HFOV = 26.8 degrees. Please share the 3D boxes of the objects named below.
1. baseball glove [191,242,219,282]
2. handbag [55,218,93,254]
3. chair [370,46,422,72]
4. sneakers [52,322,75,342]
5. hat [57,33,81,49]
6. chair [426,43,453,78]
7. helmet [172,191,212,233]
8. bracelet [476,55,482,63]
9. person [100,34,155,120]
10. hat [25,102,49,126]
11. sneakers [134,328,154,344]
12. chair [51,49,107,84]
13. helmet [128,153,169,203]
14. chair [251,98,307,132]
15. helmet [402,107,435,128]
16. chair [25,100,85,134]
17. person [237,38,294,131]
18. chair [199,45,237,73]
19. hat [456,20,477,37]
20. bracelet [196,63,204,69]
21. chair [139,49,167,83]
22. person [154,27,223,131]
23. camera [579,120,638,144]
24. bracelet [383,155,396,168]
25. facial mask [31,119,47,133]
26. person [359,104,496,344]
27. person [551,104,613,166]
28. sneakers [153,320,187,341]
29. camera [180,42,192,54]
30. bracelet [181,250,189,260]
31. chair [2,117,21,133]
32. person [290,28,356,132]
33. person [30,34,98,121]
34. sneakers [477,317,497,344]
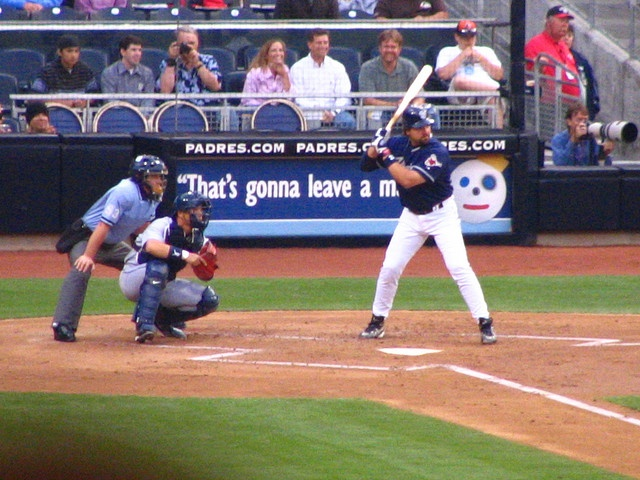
[{"bbox_3d":[-1.114,0.263,13.394,0.221,0.253,0.386,5,-16,2],"label":"baseball glove"},{"bbox_3d":[-2.467,-0.049,13.354,0.167,0.425,0.240,38,14,-44],"label":"handbag"},{"bbox_3d":[1.121,-2.576,18.875,0.504,0.421,0.470,1,1,-4],"label":"chair"},{"bbox_3d":[-2.509,0.913,13.207,0.296,0.113,0.121,8,11,41],"label":"sneakers"},{"bbox_3d":[-3.308,-2.616,17.750,0.233,0.142,0.215,-2,7,-27],"label":"hat"},{"bbox_3d":[1.633,-2.562,18.717,0.349,0.284,0.332,-7,4,-38],"label":"chair"},{"bbox_3d":[-1.218,-0.277,13.131,0.433,0.351,0.337,-3,5,-2],"label":"helmet"},{"bbox_3d":[2.141,-2.419,18.022,0.074,0.062,0.023,5,8,-36],"label":"bracelet"},{"bbox_3d":[-2.543,-2.121,18.026,0.911,1.119,0.926,3,7,9],"label":"person"},{"bbox_3d":[-3.708,-1.668,17.674,0.312,0.246,0.267,8,16,25],"label":"hat"},{"bbox_3d":[-1.718,0.931,13.188,0.126,0.092,0.205,11,-29,-26],"label":"sneakers"},{"bbox_3d":[-3.325,-2.445,18.759,0.406,0.461,0.434,-3,6,-30],"label":"chair"},{"bbox_3d":[-1.681,-0.590,13.117,0.467,0.470,0.432,3,6,-1],"label":"helmet"},{"bbox_3d":[-0.549,-1.647,18.078,0.578,0.490,0.658,-1,-37,0],"label":"chair"},{"bbox_3d":[0.953,-1.204,13.125,0.285,0.199,0.196,15,46,37],"label":"helmet"},{"bbox_3d":[-3.524,-1.585,17.754,0.606,0.487,0.409,-4,9,-22],"label":"chair"},{"bbox_3d":[-0.719,-2.044,17.910,0.668,1.214,0.328,0,15,0],"label":"person"},{"bbox_3d":[-1.393,-2.525,18.868,0.416,0.452,0.436,-1,3,-8],"label":"chair"},{"bbox_3d":[1.961,-2.813,17.899,0.269,0.202,0.339,2,13,5],"label":"hat"},{"bbox_3d":[-1.580,-2.279,17.750,0.094,0.077,0.022,3,-26,-9],"label":"bracelet"},{"bbox_3d":[-2.321,-2.429,18.741,0.434,0.461,0.430,2,17,-4],"label":"chair"},{"bbox_3d":[-1.745,-1.988,17.918,0.799,1.369,0.762,4,-10,-30],"label":"person"},{"bbox_3d":[3.873,-1.422,17.690,0.356,0.300,0.680,-5,14,-21],"label":"camera"},{"bbox_3d":[0.659,-0.762,13.100,0.136,0.087,0.127,3,9,20],"label":"bracelet"},{"bbox_3d":[-3.690,-1.482,17.635,0.208,0.178,0.153,3,17,30],"label":"facial mask"},{"bbox_3d":[1.004,-0.136,13.236,1.406,2.361,0.769,12,19,38],"label":"person"},{"bbox_3d":[3.559,-1.392,18.212,0.950,0.714,0.852,4,1,-28],"label":"person"},{"bbox_3d":[-1.485,0.910,13.582,0.365,0.121,0.120,14,5,-10],"label":"sneakers"},{"bbox_3d":[-1.766,-2.486,17.566,0.215,0.158,0.112,6,15,24],"label":"camera"},{"bbox_3d":[-1.309,0.151,13.045,0.086,0.071,0.081,-9,12,-31],"label":"bracelet"},{"bbox_3d":[-4.135,-1.527,17.993,0.239,0.269,0.260,-3,8,-28],"label":"chair"},{"bbox_3d":[0.039,-2.124,18.022,0.875,1.310,0.346,0,15,-1],"label":"person"},{"bbox_3d":[-3.434,-2.137,18.076,1.436,1.026,0.736,-1,18,-20],"label":"person"},{"bbox_3d":[1.655,0.895,13.229,0.119,0.301,0.153,-6,-36,4],"label":"sneakers"}]
